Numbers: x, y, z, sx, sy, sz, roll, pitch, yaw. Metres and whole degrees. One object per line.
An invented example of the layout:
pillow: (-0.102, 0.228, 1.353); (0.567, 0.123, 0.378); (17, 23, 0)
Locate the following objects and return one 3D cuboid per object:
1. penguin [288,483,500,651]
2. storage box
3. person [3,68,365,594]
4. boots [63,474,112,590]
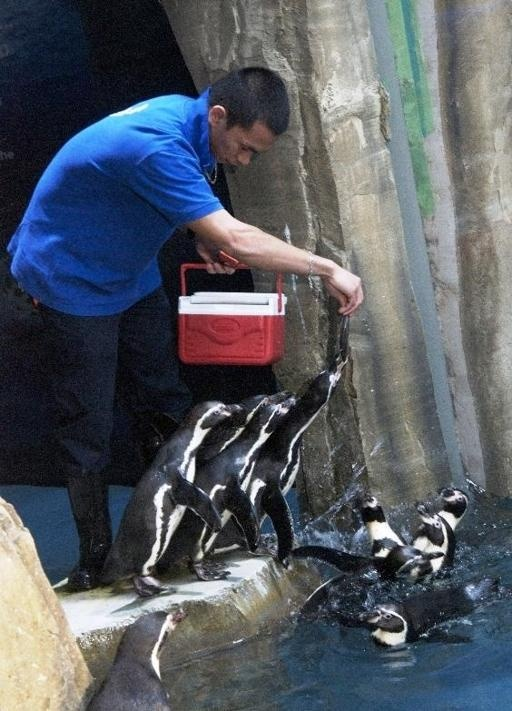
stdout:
penguin: (0.515, 0.708, 2.829); (0.469, 0.367, 0.487); (4, 10, 32)
storage box: (-0.083, -0.170, 3.230); (0.470, 0.390, 0.199); (2, 11, 24)
person: (-0.321, -0.060, 2.826); (1.048, 1.712, 0.635); (-2, 8, 36)
boots: (-0.635, 0.632, 3.008); (0.146, 0.379, 0.292); (-5, 8, 13)
